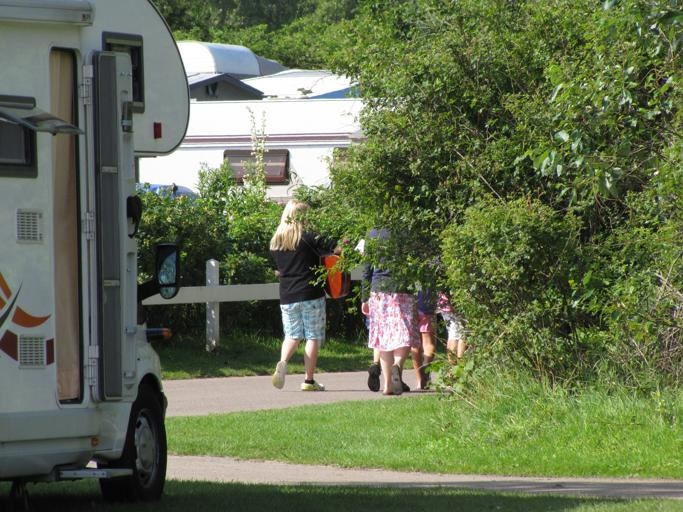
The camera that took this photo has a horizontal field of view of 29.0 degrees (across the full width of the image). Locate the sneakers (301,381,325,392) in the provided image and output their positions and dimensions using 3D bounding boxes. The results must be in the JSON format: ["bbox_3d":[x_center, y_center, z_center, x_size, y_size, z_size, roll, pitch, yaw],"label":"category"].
[{"bbox_3d":[-0.350,1.591,15.932,0.222,0.132,0.129,-1,4,-19],"label":"sneakers"}]

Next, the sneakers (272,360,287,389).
[{"bbox_3d":[-0.741,1.454,15.788,0.132,0.385,0.158,10,11,17],"label":"sneakers"}]

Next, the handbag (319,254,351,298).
[{"bbox_3d":[-0.084,0.227,15.417,0.150,0.534,0.327,-14,23,-41],"label":"handbag"}]

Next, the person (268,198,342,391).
[{"bbox_3d":[-0.462,0.503,15.767,0.769,2.307,0.566,-1,4,1],"label":"person"}]

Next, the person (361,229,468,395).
[{"bbox_3d":[0.702,0.668,15.290,1.001,2.031,1.569,-2,5,-8],"label":"person"}]
